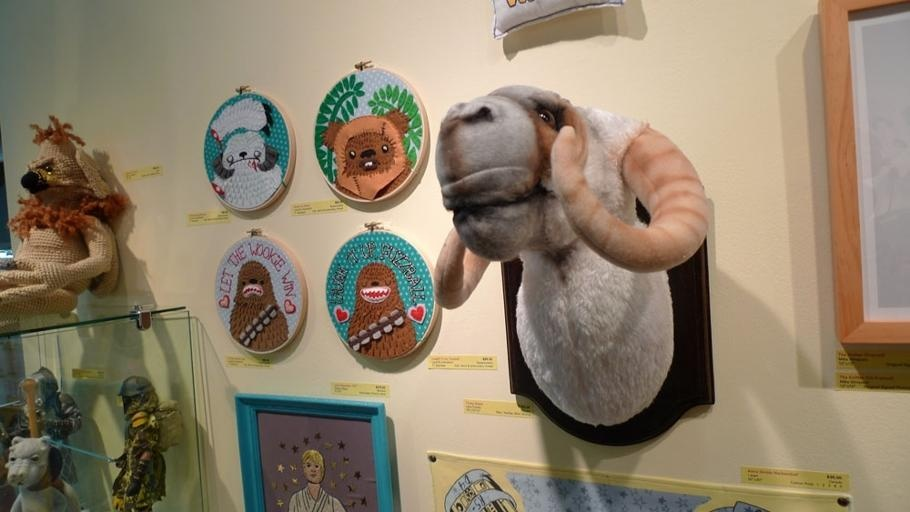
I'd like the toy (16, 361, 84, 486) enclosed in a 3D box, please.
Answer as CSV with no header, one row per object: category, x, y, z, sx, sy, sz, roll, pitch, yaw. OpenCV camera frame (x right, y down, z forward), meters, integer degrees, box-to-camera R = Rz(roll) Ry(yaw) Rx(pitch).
toy,-1.378,0.609,2.367,0.203,0.473,0.184,-3,-1,3
